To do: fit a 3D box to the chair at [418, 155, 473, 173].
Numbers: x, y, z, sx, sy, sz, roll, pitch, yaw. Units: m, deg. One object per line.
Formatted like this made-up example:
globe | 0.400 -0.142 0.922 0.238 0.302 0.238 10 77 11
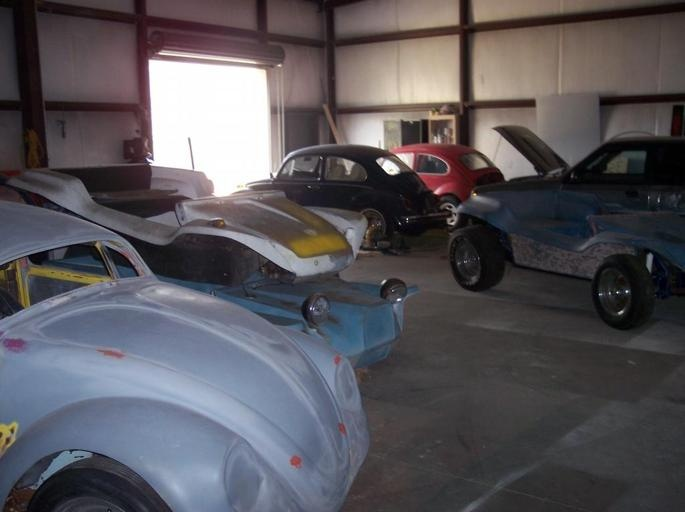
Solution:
chair | 2.453 -2.437 13.338 0.885 0.331 0.671 12 13 40
